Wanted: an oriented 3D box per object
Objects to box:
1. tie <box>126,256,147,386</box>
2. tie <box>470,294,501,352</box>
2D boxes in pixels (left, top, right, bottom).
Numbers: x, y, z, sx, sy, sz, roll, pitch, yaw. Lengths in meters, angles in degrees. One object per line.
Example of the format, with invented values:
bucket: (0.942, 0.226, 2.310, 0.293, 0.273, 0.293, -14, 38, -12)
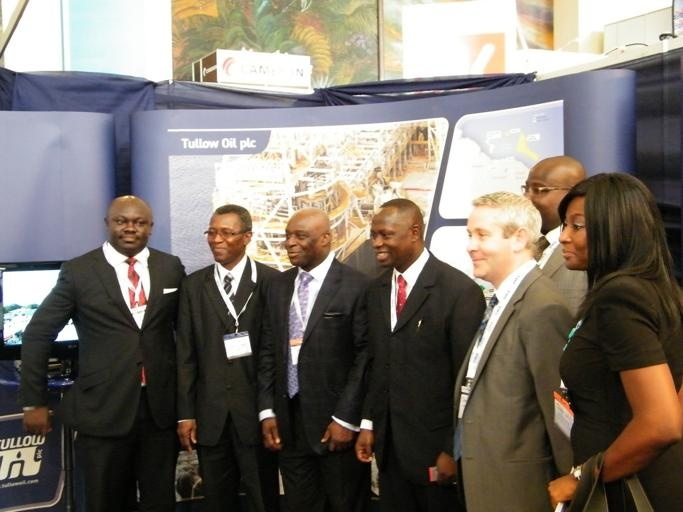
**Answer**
tie: (-1.200, 0.469, 3.817, 0.145, 0.602, 0.057, 2, 11, 33)
tie: (0.653, 0.292, 2.860, 0.062, 0.267, 0.036, 16, -6, 45)
